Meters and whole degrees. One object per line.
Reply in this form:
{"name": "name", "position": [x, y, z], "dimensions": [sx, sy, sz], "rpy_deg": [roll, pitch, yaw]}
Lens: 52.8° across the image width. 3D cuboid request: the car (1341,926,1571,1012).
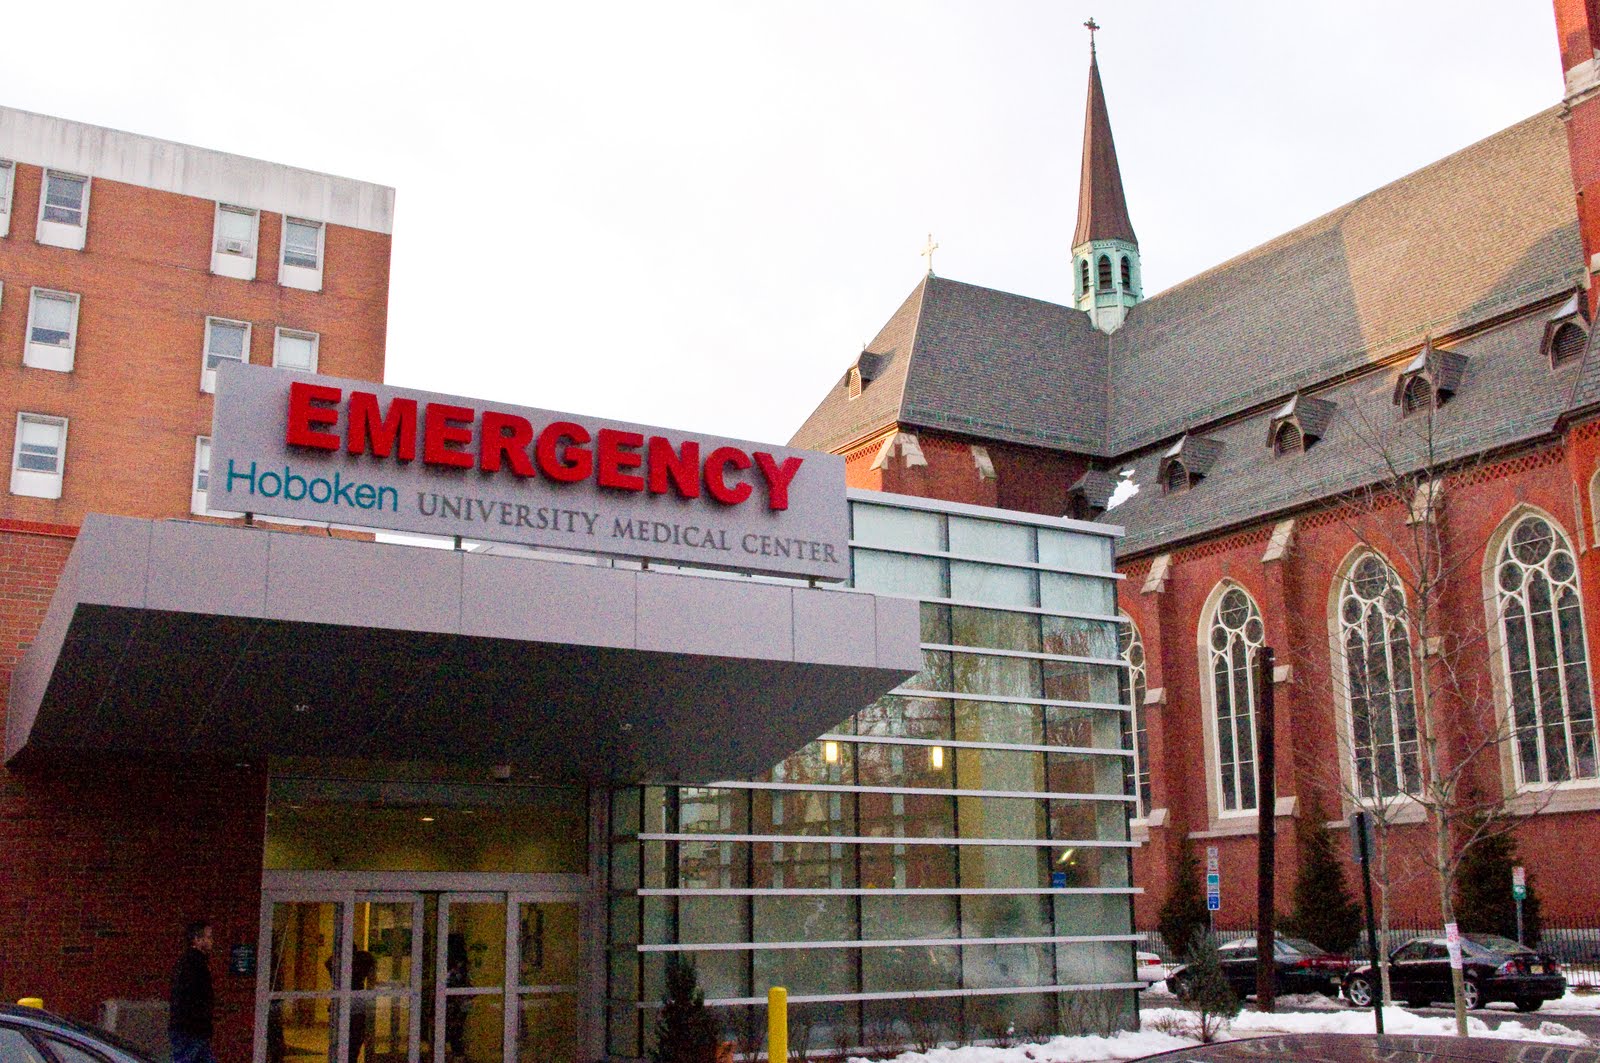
{"name": "car", "position": [13.485, 9.183, 33.554], "dimensions": [1.816, 1.694, 3.814], "rpy_deg": [11, -24, -30]}
